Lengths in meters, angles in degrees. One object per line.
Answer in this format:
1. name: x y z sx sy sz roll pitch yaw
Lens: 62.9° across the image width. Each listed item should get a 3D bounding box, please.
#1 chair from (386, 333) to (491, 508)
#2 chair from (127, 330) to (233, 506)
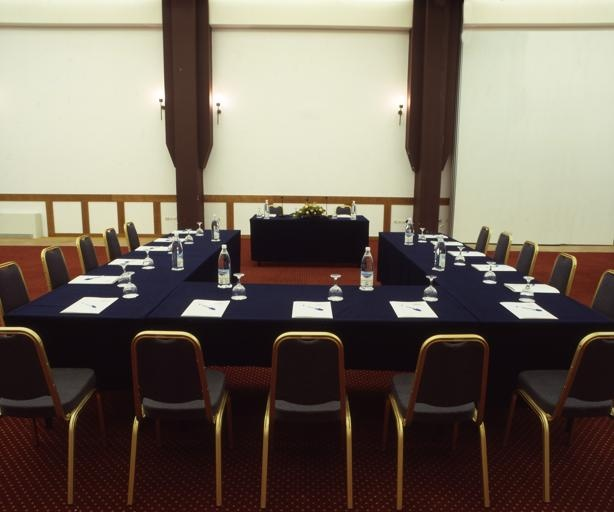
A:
1. chair: 0.907 1.012 3.361 0.743 1.178 0.644 2 13 9
2. chair: -0.869 0.998 3.350 0.673 1.160 0.574 -2 13 -9
